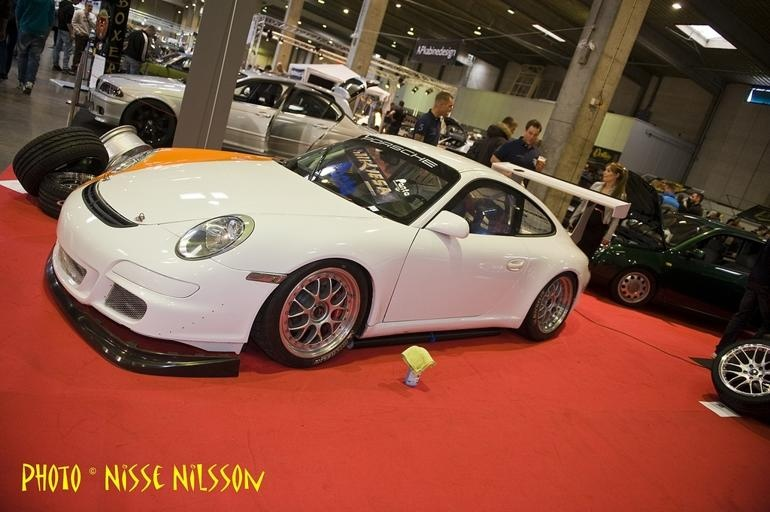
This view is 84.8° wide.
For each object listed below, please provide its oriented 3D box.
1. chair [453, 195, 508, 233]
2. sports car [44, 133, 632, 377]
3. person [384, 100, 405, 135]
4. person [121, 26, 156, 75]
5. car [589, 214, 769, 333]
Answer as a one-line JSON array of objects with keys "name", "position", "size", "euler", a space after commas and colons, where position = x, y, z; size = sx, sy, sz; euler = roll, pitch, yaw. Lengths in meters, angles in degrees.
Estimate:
[{"name": "chair", "position": [0.910, -0.387, 3.882], "size": [0.506, 0.293, 0.134], "euler": [13, -10, -43]}, {"name": "sports car", "position": [-0.144, -0.070, 3.795], "size": [3.998, 1.214, 2.062], "euler": [7, 20, -36]}, {"name": "person", "position": [0.336, -5.202, 16.073], "size": [0.603, 1.056, 1.004], "euler": [9, 19, -8]}, {"name": "person", "position": [-6.106, -4.988, 10.259], "size": [0.580, 1.049, 0.789], "euler": [-1, 23, -33]}, {"name": "car", "position": [4.846, 0.154, 7.311], "size": [2.732, 1.191, 1.624], "euler": [9, 16, 0]}]
